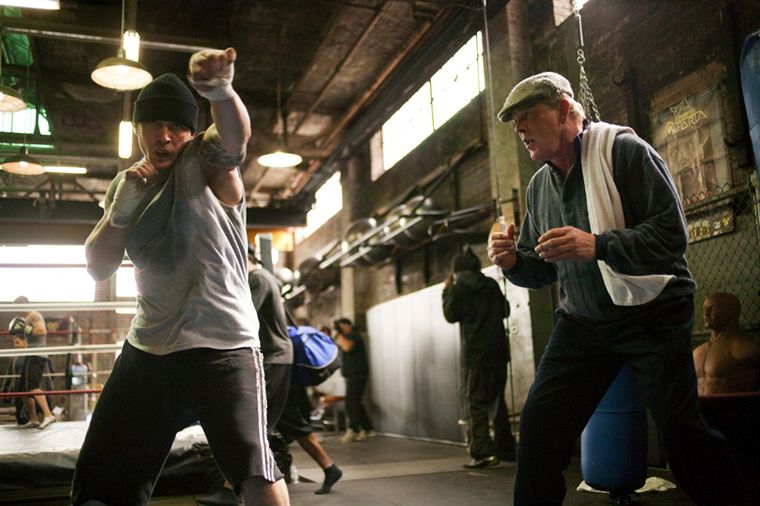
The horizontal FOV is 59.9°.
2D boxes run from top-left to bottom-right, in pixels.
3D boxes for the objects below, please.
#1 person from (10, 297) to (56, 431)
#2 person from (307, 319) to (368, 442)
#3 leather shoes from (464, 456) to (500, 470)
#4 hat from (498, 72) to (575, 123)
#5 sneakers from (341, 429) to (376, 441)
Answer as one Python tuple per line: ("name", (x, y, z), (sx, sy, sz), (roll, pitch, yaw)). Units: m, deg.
("person", (-3.383, 1.097, 6.398), (0.487, 1.215, 0.561), (8, -42, -35))
("person", (-0.589, 1.966, 9.810), (0.912, 2.509, 0.918), (9, -51, -10))
("leather shoes", (1.019, 2.131, 6.701), (0.393, 0.165, 0.133), (-2, -14, -1))
("hat", (0.916, -0.945, 3.928), (0.536, 0.247, 0.400), (-6, 4, -11))
("sneakers", (-0.324, 2.881, 10.351), (0.617, 0.254, 0.204), (11, -16, -35))
